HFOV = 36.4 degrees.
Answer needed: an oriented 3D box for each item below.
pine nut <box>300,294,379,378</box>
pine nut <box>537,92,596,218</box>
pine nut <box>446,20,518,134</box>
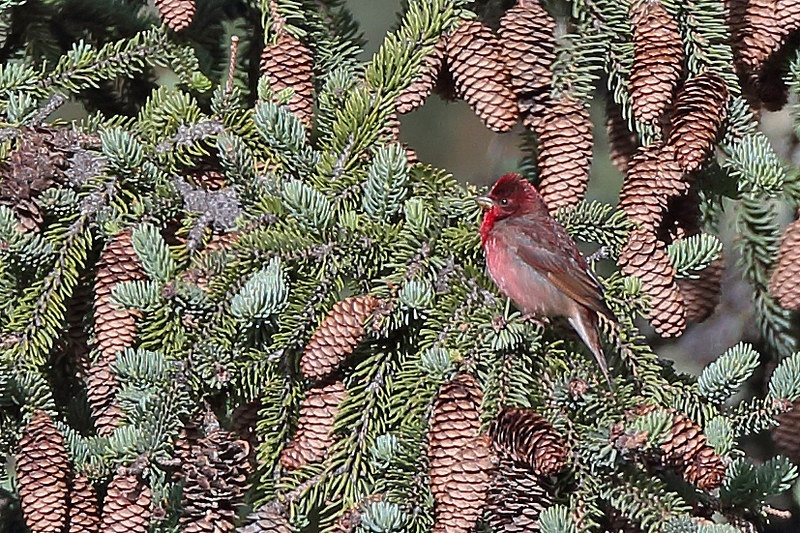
[{"bbox_3d":[-0.208,0.252,4.473,0.366,0.159,0.184,-56,-2,0],"label":"pine nut"},{"bbox_3d":[0.632,-0.431,4.664,0.196,0.293,0.405,-5,-16,1],"label":"pine nut"},{"bbox_3d":[0.307,-0.729,4.633,0.219,0.455,0.222,-20,1,-33],"label":"pine nut"}]
